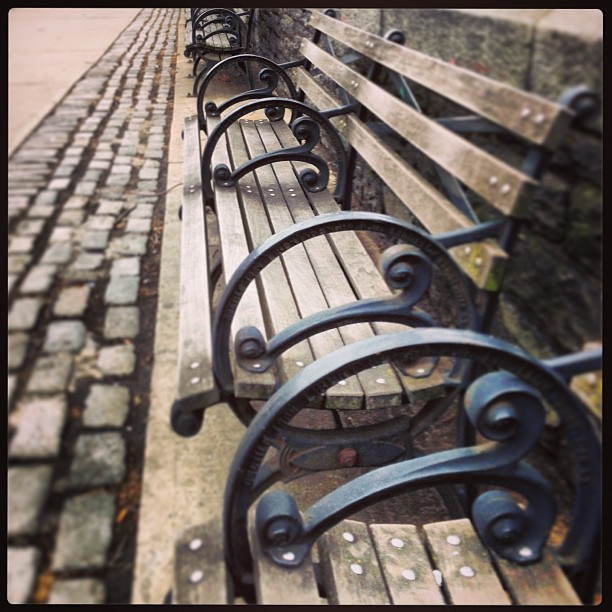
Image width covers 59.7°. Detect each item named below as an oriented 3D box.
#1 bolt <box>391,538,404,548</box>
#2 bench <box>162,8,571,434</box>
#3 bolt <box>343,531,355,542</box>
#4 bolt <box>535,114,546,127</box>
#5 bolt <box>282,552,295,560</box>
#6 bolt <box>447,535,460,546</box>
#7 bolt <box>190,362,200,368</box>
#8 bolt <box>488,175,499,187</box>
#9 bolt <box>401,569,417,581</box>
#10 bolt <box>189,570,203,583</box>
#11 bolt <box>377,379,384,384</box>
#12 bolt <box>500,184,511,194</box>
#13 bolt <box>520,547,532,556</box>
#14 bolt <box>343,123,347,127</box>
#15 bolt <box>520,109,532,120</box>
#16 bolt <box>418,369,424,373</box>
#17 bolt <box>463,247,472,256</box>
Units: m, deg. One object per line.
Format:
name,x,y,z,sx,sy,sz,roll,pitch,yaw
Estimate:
bolt,0.195,0.506,1.146,0.024,0.008,0.022,-10,18,-2
bench,-0.149,-0.631,2.529,1.028,1.121,2.822,-11,35,-6
bolt,0.090,0.495,1.151,0.022,0.012,0.023,-7,18,7
bolt,0.508,-0.407,1.165,0.006,0.025,0.023,2,-21,-21
bolt,-0.034,0.470,1.008,0.024,0.012,0.009,-10,18,-1
bolt,0.313,0.498,1.141,0.027,0.006,0.025,-6,18,11
bolt,-0.292,0.152,1.399,0.024,0.008,0.020,-6,18,11
bolt,0.457,-0.308,1.311,0.008,0.024,0.024,0,-28,-24
bolt,0.208,0.547,1.089,0.030,0.008,0.024,-9,18,3
bolt,-0.220,0.535,1.063,0.027,0.008,0.022,-16,19,-19
bolt,0.190,0.191,1.364,0.014,0.004,0.018,-7,18,7
bolt,0.470,-0.278,1.263,0.018,0.017,0.009,-17,-34,36
bolt,0.425,0.474,1.035,0.023,0.023,0.002,-11,18,-5
bolt,0.178,-0.849,2.500,0.007,0.013,0.013,11,3,24
bolt,0.497,-0.435,1.215,0.007,0.023,0.025,3,15,-27
bolt,0.294,0.165,1.380,0.008,0.002,0.008,-7,47,7
bolt,0.422,-0.145,1.405,0.007,0.023,0.035,-13,18,-8
